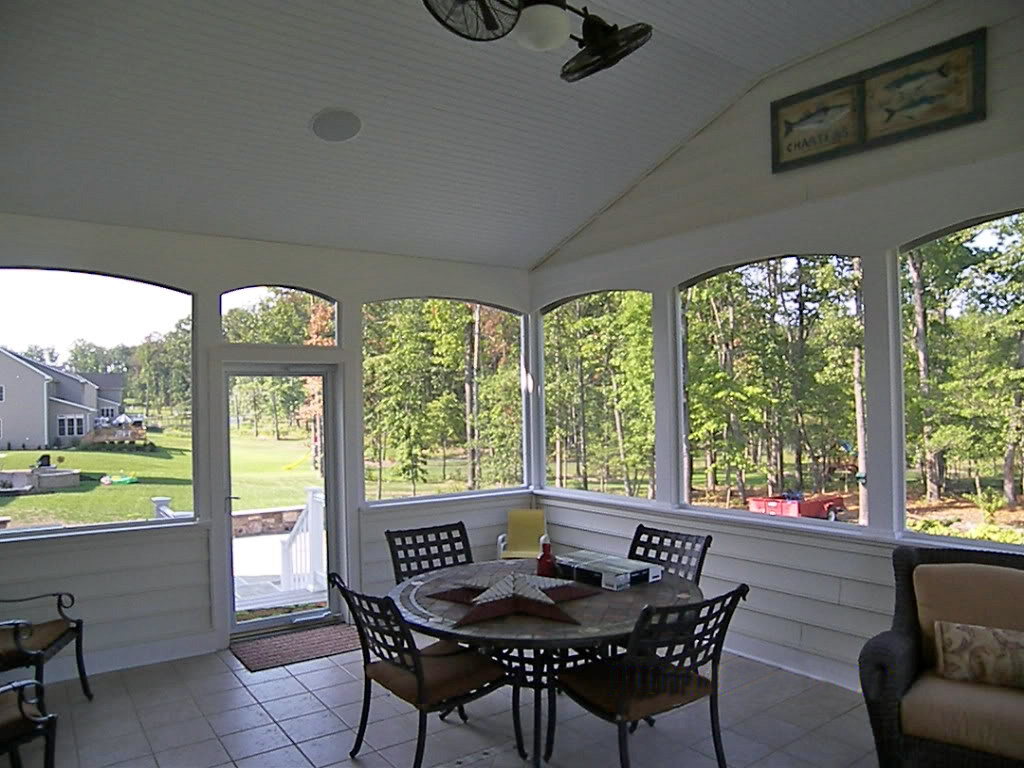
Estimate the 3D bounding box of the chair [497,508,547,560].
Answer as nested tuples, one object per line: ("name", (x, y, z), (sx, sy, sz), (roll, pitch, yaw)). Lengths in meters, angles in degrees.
("chair", (0.102, 1.447, 7.730), (0.391, 0.541, 0.460), (0, -4, 12))
